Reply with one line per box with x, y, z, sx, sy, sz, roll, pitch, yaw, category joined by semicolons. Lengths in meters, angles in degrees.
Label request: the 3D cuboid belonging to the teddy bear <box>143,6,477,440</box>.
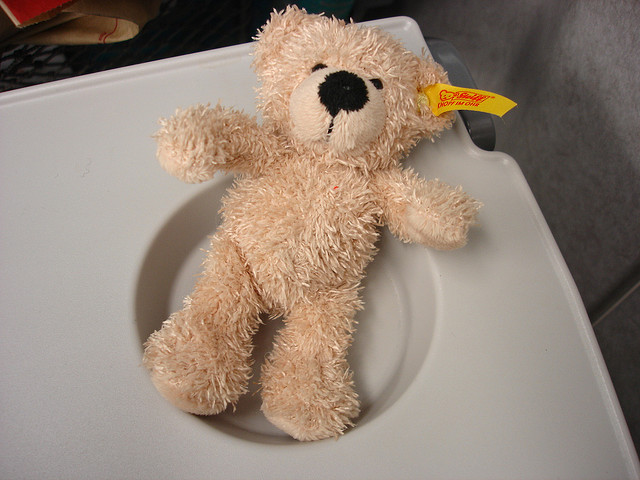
-0.008;-0.058;1.203;0.603;0.259;0.755;16;90;4;teddy bear

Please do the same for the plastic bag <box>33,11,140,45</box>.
-0.479;-0.404;1.215;0.101;0.037;0.101;-6;11;-5;plastic bag
